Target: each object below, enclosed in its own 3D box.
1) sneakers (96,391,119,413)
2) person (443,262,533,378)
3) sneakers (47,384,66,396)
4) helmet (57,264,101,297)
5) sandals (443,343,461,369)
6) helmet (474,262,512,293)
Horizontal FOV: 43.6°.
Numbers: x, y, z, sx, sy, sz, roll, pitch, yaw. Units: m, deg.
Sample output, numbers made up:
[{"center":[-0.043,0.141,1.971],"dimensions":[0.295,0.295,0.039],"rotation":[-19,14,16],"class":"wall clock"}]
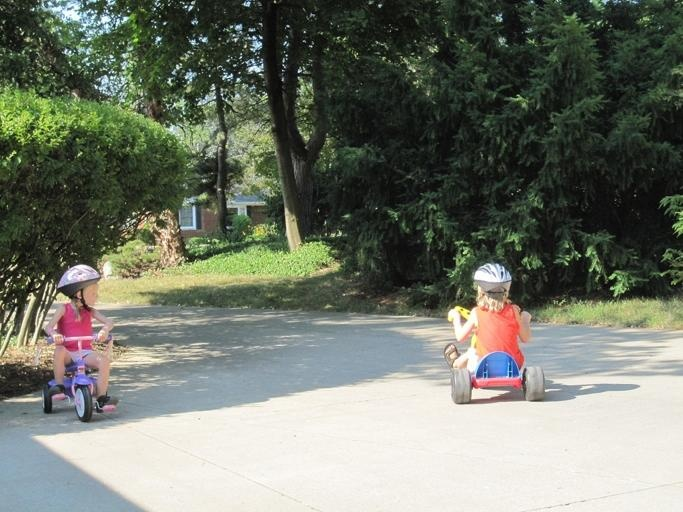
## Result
[{"center":[-2.715,1.741,10.206],"dimensions":[0.362,0.271,0.123],"rotation":[0,5,-20],"class":"sneakers"},{"center":[1.880,0.766,10.852],"dimensions":[0.961,1.445,1.315],"rotation":[-2,5,-1],"class":"person"},{"center":[-3.367,1.594,10.209],"dimensions":[0.175,0.126,0.142],"rotation":[-4,7,-21],"class":"sneakers"},{"center":[-3.174,0.292,10.479],"dimensions":[0.434,0.355,0.371],"rotation":[-16,2,-10],"class":"helmet"},{"center":[1.394,1.255,10.811],"dimensions":[0.129,0.425,0.158],"rotation":[2,-11,0],"class":"sandals"},{"center":[1.829,0.260,10.416],"dimensions":[0.411,0.318,0.327],"rotation":[-1,7,7],"class":"helmet"}]
